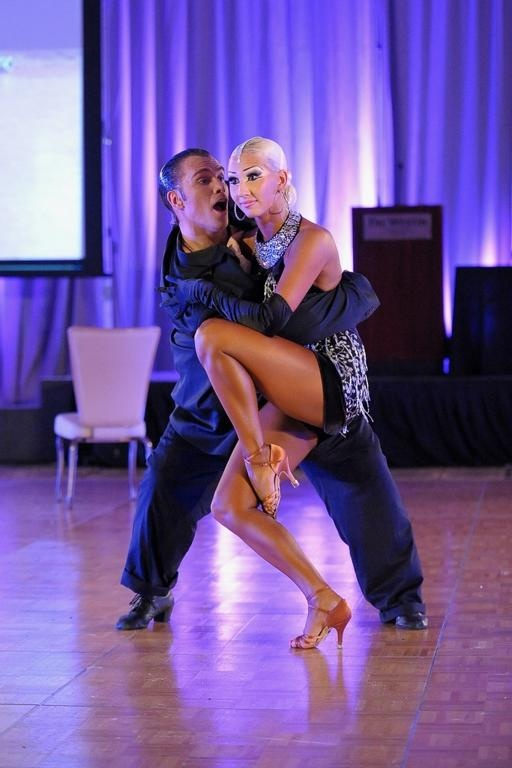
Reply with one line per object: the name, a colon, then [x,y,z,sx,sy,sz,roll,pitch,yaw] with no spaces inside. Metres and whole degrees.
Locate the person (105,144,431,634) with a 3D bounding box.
person: [0.038,0.059,1.963,0.857,1.319,0.415,1,27,4]

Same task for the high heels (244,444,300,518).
high heels: [0.020,0.207,1.719,0.082,0.163,0.115,-1,-1,-1]

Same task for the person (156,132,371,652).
person: [0.083,0.034,1.775,0.462,1.161,0.309,-1,-1,-12]

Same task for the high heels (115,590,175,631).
high heels: [-0.286,0.600,2.180,0.191,0.094,0.063,3,12,-42]
